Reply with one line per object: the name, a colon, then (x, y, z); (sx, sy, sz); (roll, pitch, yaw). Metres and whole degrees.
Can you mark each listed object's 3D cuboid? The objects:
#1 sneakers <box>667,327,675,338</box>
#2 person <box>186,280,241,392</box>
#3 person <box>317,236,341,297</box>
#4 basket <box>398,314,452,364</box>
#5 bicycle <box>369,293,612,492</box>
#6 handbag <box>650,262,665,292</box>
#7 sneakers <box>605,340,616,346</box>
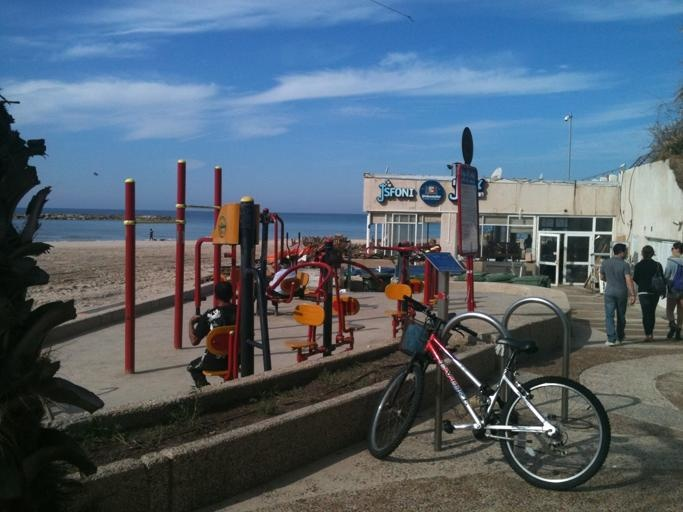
sneakers: (5.522, 1.262, 10.683); (0.108, 0.195, 0.261); (4, 7, 28)
person: (-1.374, 0.890, 6.830); (0.512, 1.195, 0.930); (-1, 6, -14)
person: (-0.158, 0.165, 8.644); (0.204, 0.803, 0.298); (-17, 24, -42)
basket: (0.718, 0.686, 5.615); (0.259, 0.435, 0.444); (26, -10, -20)
bicycle: (1.126, 1.080, 5.302); (2.147, 1.457, 1.086); (-4, -16, 40)
handbag: (5.199, 0.381, 10.449); (0.192, 0.521, 0.346); (4, 7, 33)
sneakers: (4.131, 1.341, 9.810); (0.134, 0.064, 0.058); (-2, 2, -11)
